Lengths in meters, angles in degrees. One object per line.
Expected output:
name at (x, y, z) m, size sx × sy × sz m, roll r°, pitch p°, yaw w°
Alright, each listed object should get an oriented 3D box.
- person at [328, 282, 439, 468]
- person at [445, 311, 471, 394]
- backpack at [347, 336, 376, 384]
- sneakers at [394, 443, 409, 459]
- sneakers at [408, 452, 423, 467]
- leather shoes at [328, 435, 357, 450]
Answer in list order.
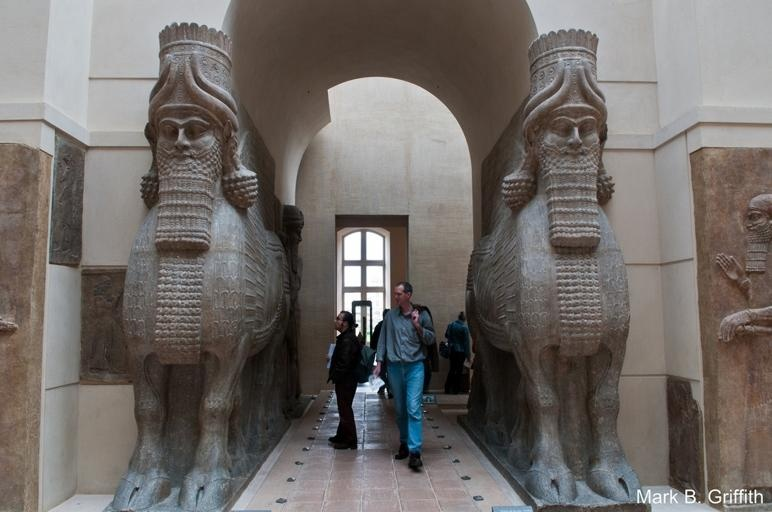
person at (0.242, 1.345, 8.448) m, size 0.675 × 2.058 × 0.417 m, roll 2°, pitch 3°, yaw 43°
person at (1.284, 1.694, 12.615) m, size 0.462 × 1.412 × 0.653 m, roll 0°, pitch 2°, yaw 6°
backpack at (-0.260, 1.300, 9.070) m, size 0.399 × 0.802 × 0.606 m, roll 3°, pitch -6°, yaw -1°
sneakers at (0.201, 2.285, 8.519) m, size 0.082 × 0.172 × 0.243 m, roll -1°, pitch -30°, yaw 7°
sneakers at (0.364, 2.288, 8.212) m, size 0.184 × 0.200 × 0.173 m, roll -1°, pitch 3°, yaw -11°
leather shoes at (-0.509, 2.272, 8.912) m, size 0.367 × 0.286 × 0.131 m, roll -3°, pitch -10°, yaw 9°
